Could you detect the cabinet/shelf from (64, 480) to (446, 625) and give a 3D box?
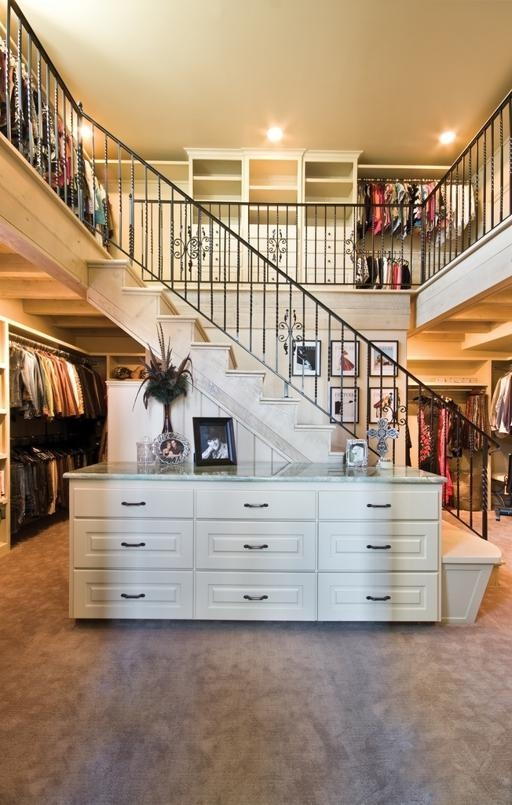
[{"bbox_3d":[0.005,0.677,3.039,1.673,0.731,0.617,0,1,2],"label":"cabinet/shelf"}]

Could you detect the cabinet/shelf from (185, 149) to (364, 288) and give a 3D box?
[{"bbox_3d":[0.208,-1.848,6.205,1.680,1.434,1.180,1,0,6],"label":"cabinet/shelf"}]

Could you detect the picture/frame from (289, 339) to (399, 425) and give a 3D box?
[{"bbox_3d":[0.739,-0.180,5.072,0.669,0.578,0.024,1,-1,-26],"label":"picture/frame"}]

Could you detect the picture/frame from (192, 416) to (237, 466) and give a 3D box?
[{"bbox_3d":[-0.229,0.214,3.290,0.235,0.307,0.020,3,-24,-31],"label":"picture/frame"}]

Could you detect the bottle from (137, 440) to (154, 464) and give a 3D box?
[{"bbox_3d":[-0.580,0.266,3.290,0.102,0.128,0.103,0,4,0],"label":"bottle"}]
